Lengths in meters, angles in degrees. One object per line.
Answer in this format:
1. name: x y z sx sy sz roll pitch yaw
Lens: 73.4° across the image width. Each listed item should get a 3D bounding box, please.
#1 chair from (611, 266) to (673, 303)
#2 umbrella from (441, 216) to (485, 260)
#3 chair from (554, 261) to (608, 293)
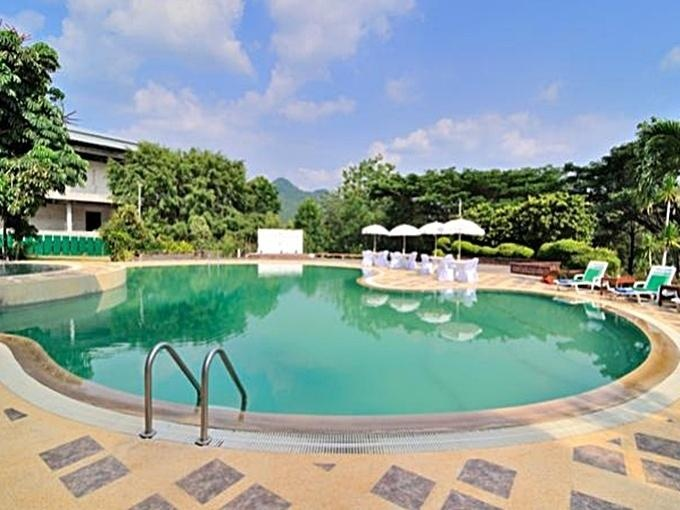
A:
1. chair: 11.324 1.211 16.728 2.024 1.474 1.367 -2 0 -22
2. umbrella: 7.512 -0.940 27.602 2.684 2.800 2.923 1 5 7
3. chair: 10.245 0.917 18.936 2.077 1.273 1.349 -2 -1 -22
